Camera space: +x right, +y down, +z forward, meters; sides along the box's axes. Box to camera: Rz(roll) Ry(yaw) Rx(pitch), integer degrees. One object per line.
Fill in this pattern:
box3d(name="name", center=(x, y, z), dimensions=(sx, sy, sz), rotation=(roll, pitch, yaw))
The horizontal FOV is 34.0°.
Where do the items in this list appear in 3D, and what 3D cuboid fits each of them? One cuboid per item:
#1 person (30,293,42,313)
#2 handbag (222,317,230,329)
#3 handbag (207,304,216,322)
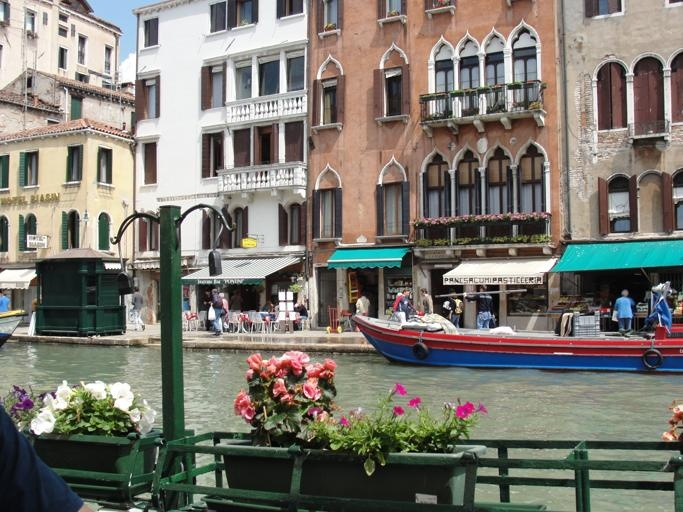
box3d(name="person", center=(-12.869, 2.021, 47.155), dimensions=(0.310, 0.724, 2.336), rotation=(0, -5, -17))
box3d(name="handbag", center=(-4.847, 2.815, 46.817), dimensions=(0.130, 0.407, 0.281), rotation=(-4, 2, 43))
box3d(name="handbag", center=(-5.245, 2.264, 45.073), dimensions=(0.217, 0.632, 0.486), rotation=(1, -5, -22))
